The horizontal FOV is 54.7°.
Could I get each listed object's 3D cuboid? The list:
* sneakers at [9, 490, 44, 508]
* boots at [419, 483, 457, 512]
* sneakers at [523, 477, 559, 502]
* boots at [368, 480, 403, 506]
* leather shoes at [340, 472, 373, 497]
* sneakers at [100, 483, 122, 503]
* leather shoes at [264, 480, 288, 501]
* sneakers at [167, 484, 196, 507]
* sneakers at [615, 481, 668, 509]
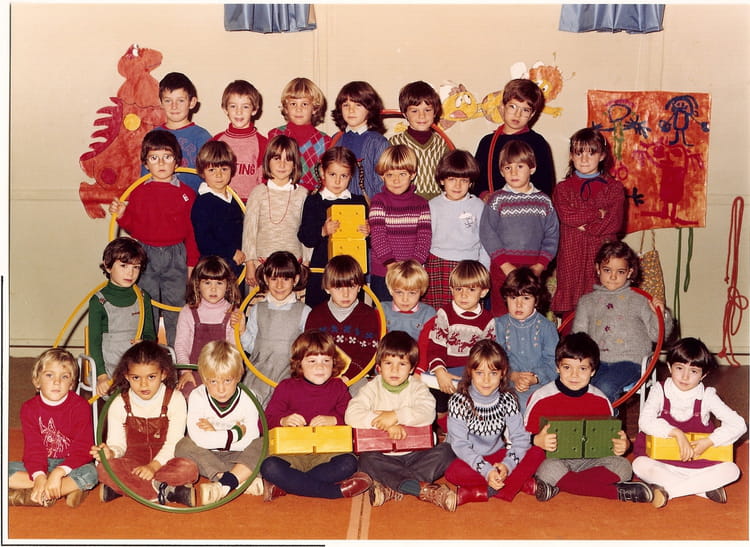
[{"bbox_3d":[-2.013,1.281,4.134,0.115,0.122,0.045,-3,-33,-17],"label":"sneakers"},{"bbox_3d":[0.381,1.283,4.166,0.254,0.092,0.110,10,-10,-27],"label":"boots"},{"bbox_3d":[0.969,1.253,4.280,0.172,0.111,0.065,30,17,26],"label":"sneakers"},{"bbox_3d":[0.054,1.271,4.196,0.177,0.120,0.095,-1,10,1],"label":"boots"},{"bbox_3d":[-0.106,1.243,4.279,0.233,0.091,0.092,-16,11,12],"label":"leather shoes"},{"bbox_3d":[-1.539,1.270,4.182,0.076,0.121,0.122,-1,-7,3],"label":"sneakers"},{"bbox_3d":[-0.598,1.263,4.222,0.065,0.076,0.197,5,5,37],"label":"leather shoes"},{"bbox_3d":[-1.096,1.253,4.102,0.222,0.095,0.076,5,3,17],"label":"sneakers"},{"bbox_3d":[1.533,1.252,4.229,0.310,0.108,0.138,5,13,38],"label":"sneakers"}]
